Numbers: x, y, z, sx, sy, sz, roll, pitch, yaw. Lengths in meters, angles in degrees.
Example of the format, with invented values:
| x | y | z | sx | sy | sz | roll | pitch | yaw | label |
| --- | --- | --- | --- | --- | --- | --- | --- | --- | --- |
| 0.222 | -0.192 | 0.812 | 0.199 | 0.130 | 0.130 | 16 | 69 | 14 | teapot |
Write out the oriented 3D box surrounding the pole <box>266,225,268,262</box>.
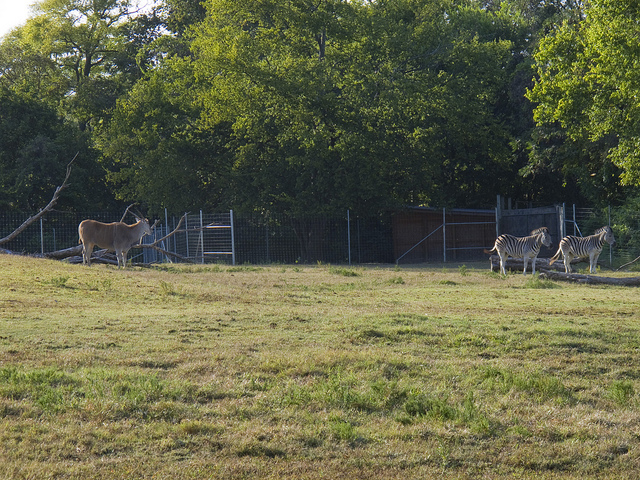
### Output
| x | y | z | sx | sy | sz | roll | pitch | yaw | label |
| --- | --- | --- | --- | --- | --- | --- | --- | --- | --- |
| -2.869 | 0.075 | 69.890 | 0.076 | 1.726 | 0.588 | 2 | -3 | -8 | pole |

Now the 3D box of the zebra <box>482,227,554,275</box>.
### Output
| x | y | z | sx | sy | sz | roll | pitch | yaw | label |
| --- | --- | --- | --- | --- | --- | --- | --- | --- | --- |
| 9.508 | 0.588 | 61.539 | 3.271 | 2.503 | 0.904 | -1 | -1 | 27 | zebra |

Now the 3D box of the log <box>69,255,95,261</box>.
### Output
| x | y | z | sx | sy | sz | roll | pitch | yaw | label |
| --- | --- | --- | --- | --- | --- | --- | --- | --- | --- |
| -11.353 | 0.918 | 61.524 | 1.167 | 0.271 | 0.535 | 3 | -4 | -23 | log |

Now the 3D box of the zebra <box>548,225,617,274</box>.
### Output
| x | y | z | sx | sy | sz | roll | pitch | yaw | label |
| --- | --- | --- | --- | --- | --- | --- | --- | --- | --- |
| 12.480 | 0.540 | 61.534 | 3.353 | 2.306 | 0.839 | 0 | 0 | 31 | zebra |
